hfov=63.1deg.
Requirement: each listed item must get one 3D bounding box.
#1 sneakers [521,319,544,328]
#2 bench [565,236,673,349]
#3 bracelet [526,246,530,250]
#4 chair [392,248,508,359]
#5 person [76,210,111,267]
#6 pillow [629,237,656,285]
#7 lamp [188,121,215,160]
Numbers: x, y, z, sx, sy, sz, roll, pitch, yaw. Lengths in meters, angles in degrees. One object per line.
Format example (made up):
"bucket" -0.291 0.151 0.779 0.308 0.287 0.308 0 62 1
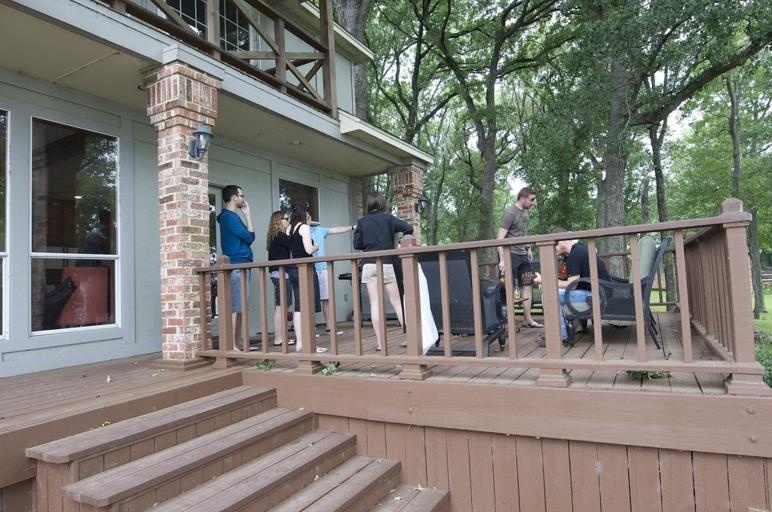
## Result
"sneakers" 2.275 1.058 9.786 0.284 0.109 0.106 -2 -1 22
"bench" 3.053 0.454 8.292 1.463 1.352 1.254 -2 1 13
"bracelet" 2.180 -0.125 9.665 0.034 0.041 0.092 -21 -32 29
"chair" 0.993 0.617 8.221 0.939 1.350 1.103 -4 -3 21
"person" -4.207 -0.112 9.225 0.406 1.209 0.390 0 39 -30
"pillow" 3.043 0.052 7.439 0.243 0.723 0.540 7 9 19
"lamp" -2.475 -1.552 8.436 0.274 0.520 0.215 -4 -3 16
